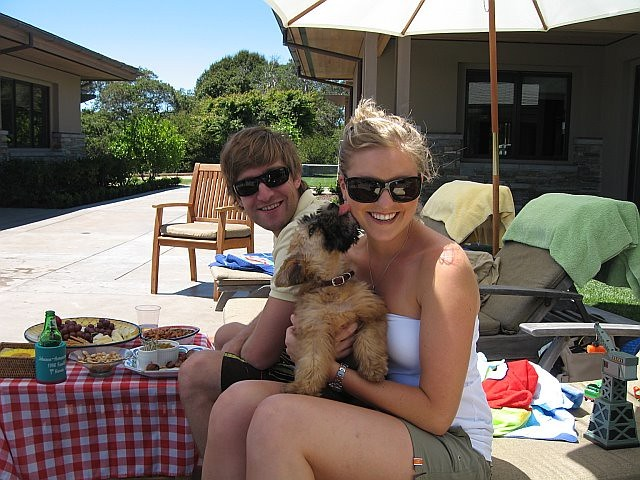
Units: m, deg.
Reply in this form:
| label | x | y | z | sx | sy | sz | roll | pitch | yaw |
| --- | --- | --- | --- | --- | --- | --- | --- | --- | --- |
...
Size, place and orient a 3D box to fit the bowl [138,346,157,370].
| label | x | y | z | sx | sy | sz | roll | pitch | yaw |
| --- | --- | --- | --- | --- | --- | --- | --- | --- | --- |
| bowl | -0.802 | 0.552 | 2.264 | 0.069 | 0.085 | 0.094 | 0 | -2 | -7 |

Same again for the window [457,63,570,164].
| label | x | y | z | sx | sy | sz | roll | pitch | yaw |
| --- | --- | --- | --- | --- | --- | --- | --- | --- | --- |
| window | 4.178 | -2.612 | 10.412 | 2.379 | 2.081 | 0.172 | 2 | 1 | 2 |

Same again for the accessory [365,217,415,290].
| label | x | y | z | sx | sy | sz | roll | pitch | yaw |
| --- | --- | --- | --- | --- | --- | --- | --- | --- | --- |
| accessory | 0.269 | 0.065 | 1.944 | 0.059 | 0.270 | 0.152 | 18 | -3 | -29 |

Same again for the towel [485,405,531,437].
| label | x | y | z | sx | sy | sz | roll | pitch | yaw |
| --- | --- | --- | --- | --- | --- | --- | --- | --- | --- |
| towel | 0.933 | 0.882 | 2.413 | 0.205 | 0.065 | 0.211 | -8 | 3 | 31 |

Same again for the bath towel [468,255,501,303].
| label | x | y | z | sx | sy | sz | roll | pitch | yaw |
| --- | --- | --- | --- | --- | --- | --- | --- | --- | --- |
| bath towel | 1.358 | 0.277 | 4.136 | 0.269 | 0.093 | 0.282 | 0 | -37 | 13 |

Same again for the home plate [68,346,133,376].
| label | x | y | z | sx | sy | sz | roll | pitch | yaw |
| --- | --- | --- | --- | --- | --- | --- | --- | --- | --- |
| home plate | -1.041 | 0.559 | 2.295 | 0.147 | 0.056 | 0.152 | 2 | 6 | 21 |

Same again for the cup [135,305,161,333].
| label | x | y | z | sx | sy | sz | roll | pitch | yaw |
| --- | --- | --- | --- | --- | --- | --- | --- | --- | --- |
| cup | -0.859 | 0.396 | 2.488 | 0.114 | 0.119 | 0.115 | -1 | -7 | 0 |

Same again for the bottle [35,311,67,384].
| label | x | y | z | sx | sy | sz | roll | pitch | yaw |
| --- | --- | --- | --- | --- | --- | --- | --- | --- | --- |
| bottle | -1.206 | 0.470 | 2.189 | 0.125 | 0.296 | 0.199 | -3 | 7 | -31 |

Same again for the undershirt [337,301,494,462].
| label | x | y | z | sx | sy | sz | roll | pitch | yaw |
| --- | --- | --- | --- | --- | --- | --- | --- | --- | --- |
| undershirt | 0.334 | 0.471 | 2.075 | 0.467 | 0.807 | 0.575 | -11 | 8 | -38 |

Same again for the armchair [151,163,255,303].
| label | x | y | z | sx | sy | sz | roll | pitch | yaw |
| --- | --- | --- | --- | --- | --- | --- | --- | --- | --- |
| armchair | -1.366 | -0.133 | 5.859 | 1.082 | 1.403 | 1.121 | 2 | 9 | 3 |
